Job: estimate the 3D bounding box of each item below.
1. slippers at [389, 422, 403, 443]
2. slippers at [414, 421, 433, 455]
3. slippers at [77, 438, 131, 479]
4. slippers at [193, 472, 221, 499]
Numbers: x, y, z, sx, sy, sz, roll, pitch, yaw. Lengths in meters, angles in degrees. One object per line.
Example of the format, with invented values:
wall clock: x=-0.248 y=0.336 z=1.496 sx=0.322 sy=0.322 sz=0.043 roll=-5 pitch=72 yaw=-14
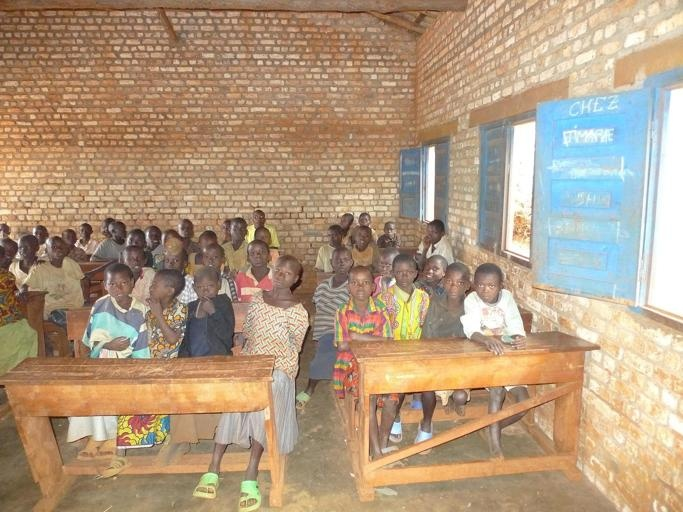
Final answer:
slippers: x=0.476 y=1.525 z=4.488 sx=0.091 sy=0.085 sz=0.238 roll=0 pitch=1 yaw=2
slippers: x=0.697 y=1.532 z=4.368 sx=0.140 sy=0.101 sz=0.345 roll=0 pitch=11 yaw=17
slippers: x=-1.928 y=1.606 z=4.202 sx=0.341 sy=0.104 sz=0.340 roll=-23 pitch=50 yaw=-37
slippers: x=-1.022 y=1.740 z=3.944 sx=0.139 sy=0.083 sz=0.237 roll=3 pitch=-9 yaw=-6
